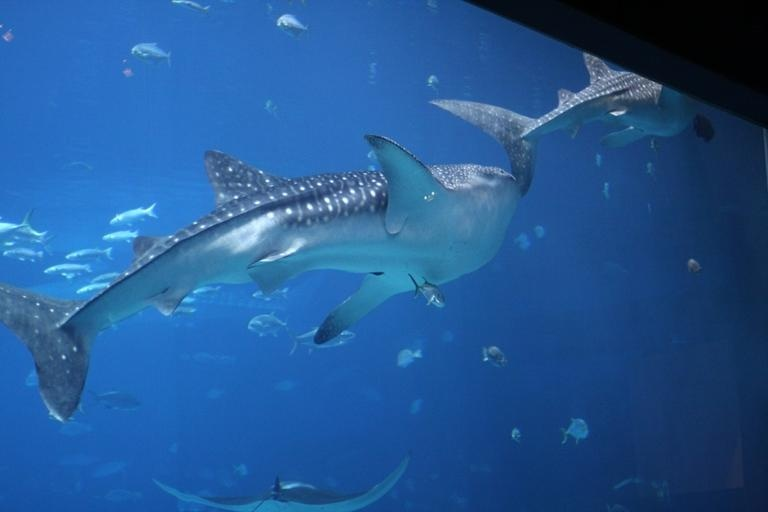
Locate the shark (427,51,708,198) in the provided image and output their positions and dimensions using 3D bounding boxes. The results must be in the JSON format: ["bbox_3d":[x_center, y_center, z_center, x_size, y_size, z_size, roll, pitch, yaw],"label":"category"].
[{"bbox_3d":[5.995,-4.688,22.634,11.552,3.915,3.377,-9,4,-25],"label":"shark"}]
